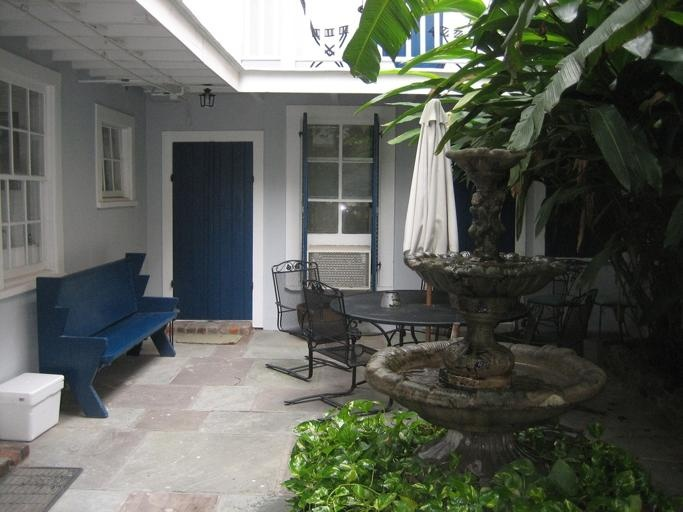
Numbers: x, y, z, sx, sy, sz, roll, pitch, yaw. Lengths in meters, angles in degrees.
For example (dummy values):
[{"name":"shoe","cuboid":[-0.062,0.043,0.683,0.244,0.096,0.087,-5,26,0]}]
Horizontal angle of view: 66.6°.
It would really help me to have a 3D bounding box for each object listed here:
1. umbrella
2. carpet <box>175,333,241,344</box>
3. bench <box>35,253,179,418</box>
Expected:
[{"name":"umbrella","cuboid":[0.679,-0.605,3.855,0.386,1.132,0.426,1,9,10]},{"name":"carpet","cuboid":[-1.839,1.132,7.177,0.905,0.037,0.418,0,7,0]},{"name":"bench","cuboid":[-2.454,0.845,5.389,0.529,0.846,1.583,-1,5,1]}]
